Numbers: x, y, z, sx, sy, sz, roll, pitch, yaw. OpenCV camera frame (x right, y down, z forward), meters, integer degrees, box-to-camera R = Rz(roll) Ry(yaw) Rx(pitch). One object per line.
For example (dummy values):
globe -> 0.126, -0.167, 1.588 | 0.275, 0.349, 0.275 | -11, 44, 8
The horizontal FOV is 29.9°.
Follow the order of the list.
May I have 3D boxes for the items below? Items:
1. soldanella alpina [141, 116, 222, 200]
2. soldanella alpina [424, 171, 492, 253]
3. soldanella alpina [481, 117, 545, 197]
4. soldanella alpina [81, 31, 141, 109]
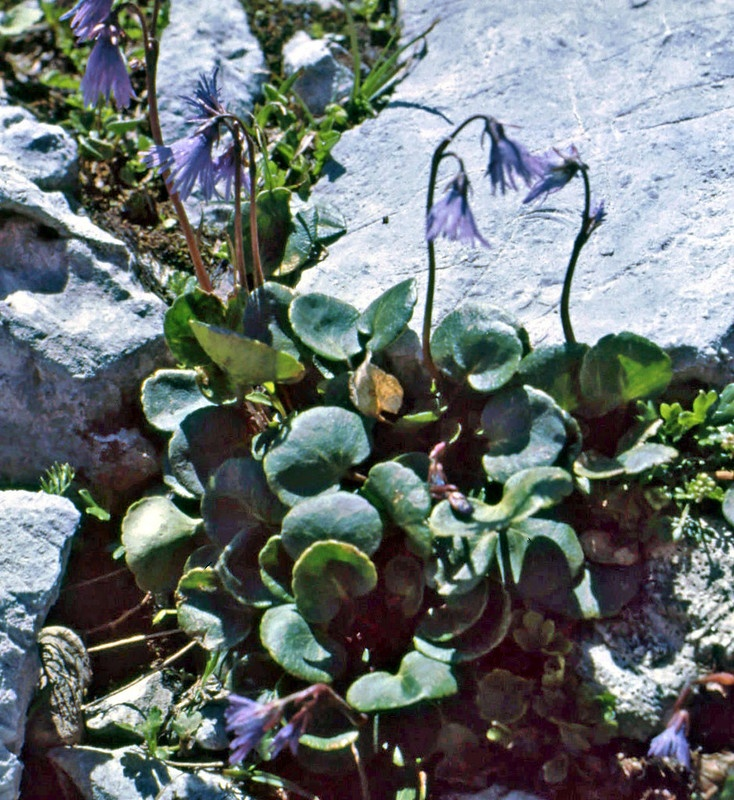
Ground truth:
soldanella alpina -> -0.510, -0.672, 3.868 | 0.180, 0.231, 0.072 | 33, -23, -15
soldanella alpina -> 0.230, -0.506, 3.606 | 0.156, 0.175, 0.086 | 11, 23, 18
soldanella alpina -> 0.392, -0.657, 3.694 | 0.158, 0.203, 0.226 | 12, 22, 22
soldanella alpina -> -0.744, -0.959, 3.942 | 0.143, 0.236, 0.199 | -1, 21, -10
